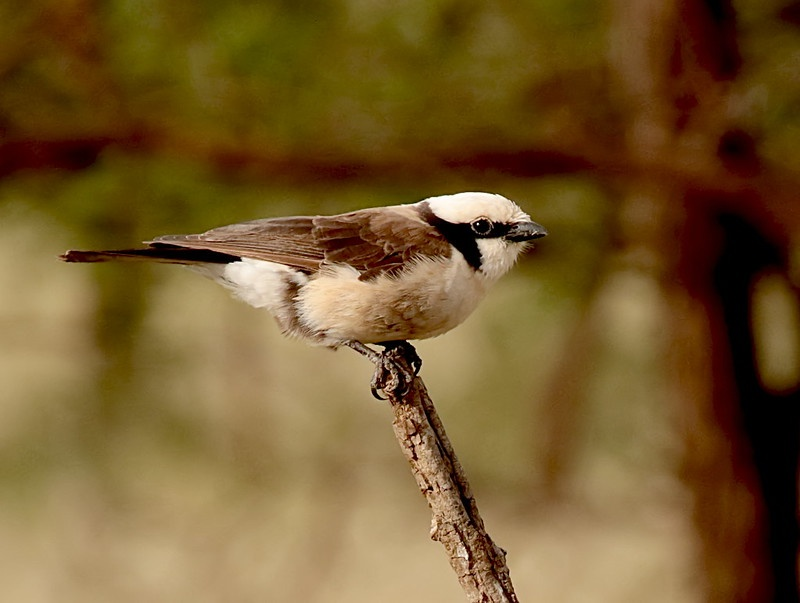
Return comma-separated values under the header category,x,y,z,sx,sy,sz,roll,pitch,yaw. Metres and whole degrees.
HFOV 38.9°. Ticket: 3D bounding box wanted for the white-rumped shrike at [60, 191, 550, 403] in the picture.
category,x,y,z,sx,sy,sz,roll,pitch,yaw
white-rumped shrike,-0.194,-0.126,5.147,1.742,0.330,0.660,-10,73,-5
